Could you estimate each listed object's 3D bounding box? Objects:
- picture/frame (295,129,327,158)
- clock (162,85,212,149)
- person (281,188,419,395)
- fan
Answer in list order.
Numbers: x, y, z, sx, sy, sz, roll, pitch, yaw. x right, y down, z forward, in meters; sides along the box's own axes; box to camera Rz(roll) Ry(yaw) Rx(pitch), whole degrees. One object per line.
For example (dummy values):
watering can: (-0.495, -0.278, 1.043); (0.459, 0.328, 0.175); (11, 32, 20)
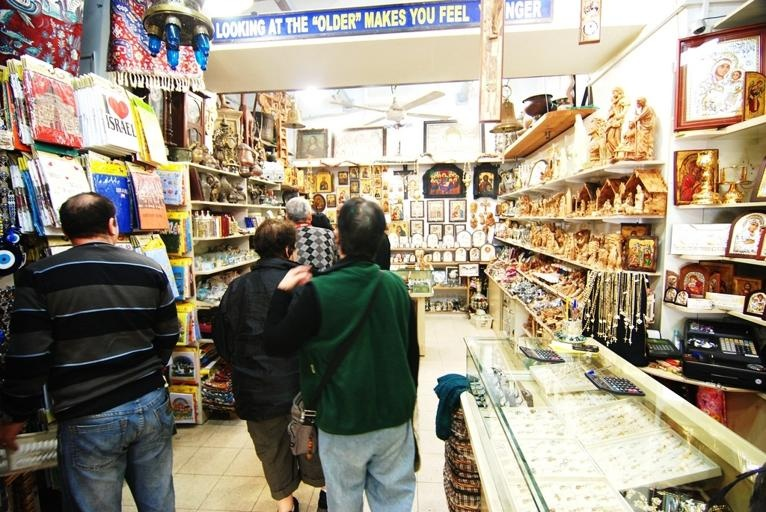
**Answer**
picture/frame: (-1.254, -2.005, 9.049); (0.515, 0.550, 0.093); (1, 1, 2)
clock: (-1.973, -1.399, 5.175); (0.277, 0.607, 0.565); (2, 7, 20)
person: (-0.230, 0.413, 3.081); (0.910, 1.525, 0.294); (-1, 7, -1)
fan: (0.211, -2.586, 8.774); (1.451, 0.660, 1.623); (2, 0, 2)
